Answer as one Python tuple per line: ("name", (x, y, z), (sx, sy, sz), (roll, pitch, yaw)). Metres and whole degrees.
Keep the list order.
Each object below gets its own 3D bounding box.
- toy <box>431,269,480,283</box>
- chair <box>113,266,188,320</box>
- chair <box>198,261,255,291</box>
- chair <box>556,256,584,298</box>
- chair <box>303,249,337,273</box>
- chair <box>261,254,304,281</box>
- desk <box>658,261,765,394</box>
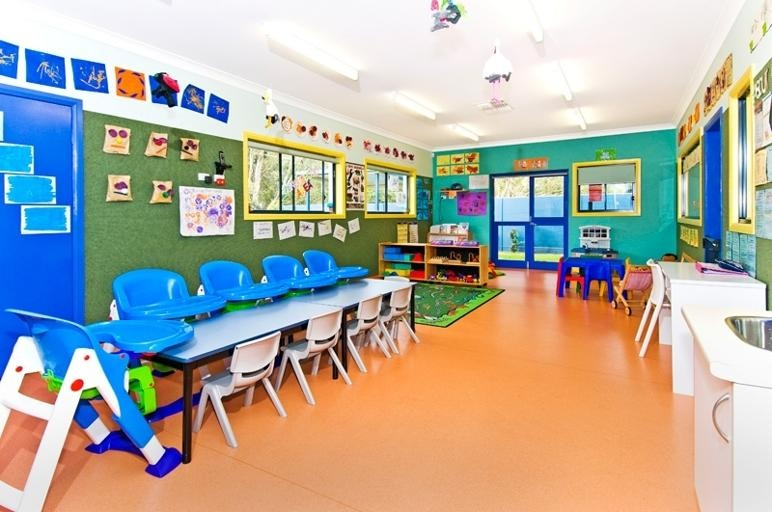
("toy", (1.294, 0.407, 9.294), (0.836, 0.222, 0.271), (0, 12, 15))
("chair", (-2.581, 0.371, 5.471), (0.712, 0.447, 0.698), (-3, 1, 42))
("chair", (-2.045, 0.246, 6.321), (0.457, 0.298, 0.502), (0, 5, 44))
("chair", (3.202, 0.320, 8.798), (0.413, 0.602, 1.380), (0, 4, 20))
("chair", (-1.016, 0.079, 7.630), (0.389, 0.473, 0.426), (-3, -4, -36))
("chair", (-1.422, 0.144, 6.885), (0.380, 0.401, 0.461), (-2, -8, -32))
("desk", (2.715, 0.578, 4.173), (0.456, 0.619, 1.276), (0, 2, 15))
